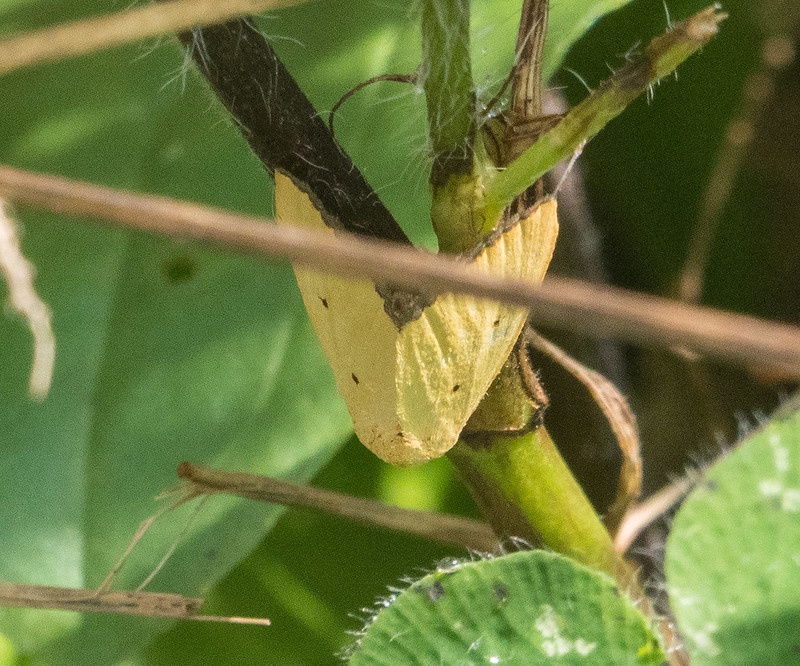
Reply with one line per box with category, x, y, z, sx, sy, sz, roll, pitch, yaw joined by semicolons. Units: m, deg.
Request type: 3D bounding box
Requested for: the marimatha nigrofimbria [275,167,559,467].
marimatha nigrofimbria;0.003;-0.018;0.498;0.108;0.132;0.119;-1;15;-10
